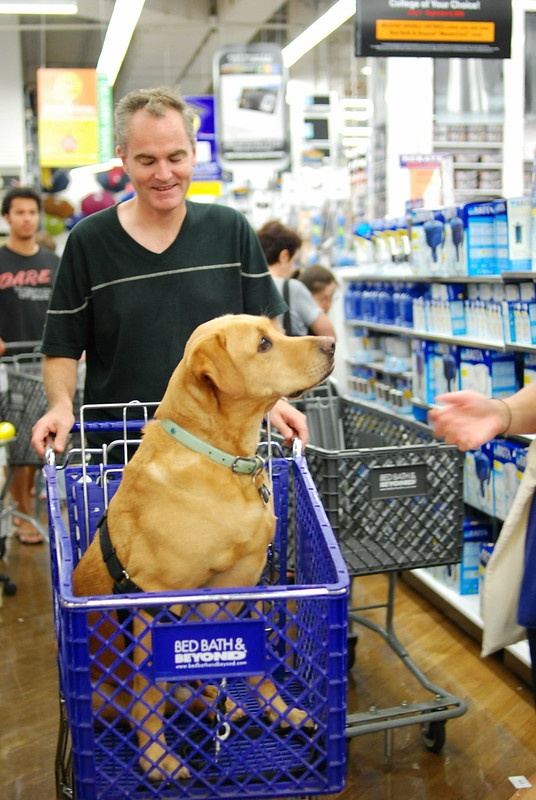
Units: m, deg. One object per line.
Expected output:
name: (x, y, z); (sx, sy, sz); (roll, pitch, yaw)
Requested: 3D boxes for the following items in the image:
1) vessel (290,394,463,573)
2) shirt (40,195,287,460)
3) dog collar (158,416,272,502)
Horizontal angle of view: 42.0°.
vessel: (0.493, 0.241, 2.374); (0.369, 0.549, 0.631); (2, 10, 14)
shirt: (-0.232, -0.260, 2.256); (1.049, 0.873, 0.546); (-5, 14, -9)
dog collar: (-0.096, 0.102, 1.397); (0.191, 0.064, 0.150); (37, 9, 9)
